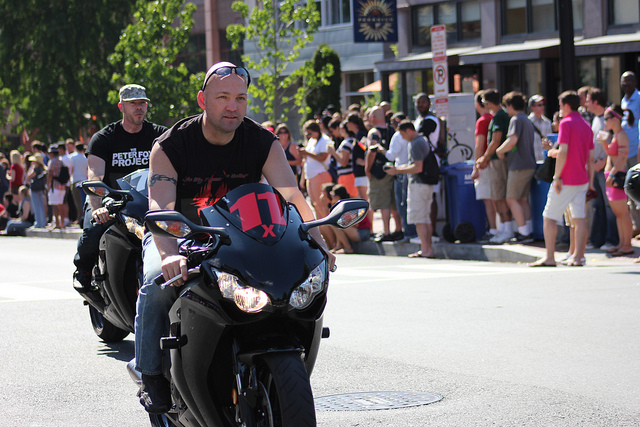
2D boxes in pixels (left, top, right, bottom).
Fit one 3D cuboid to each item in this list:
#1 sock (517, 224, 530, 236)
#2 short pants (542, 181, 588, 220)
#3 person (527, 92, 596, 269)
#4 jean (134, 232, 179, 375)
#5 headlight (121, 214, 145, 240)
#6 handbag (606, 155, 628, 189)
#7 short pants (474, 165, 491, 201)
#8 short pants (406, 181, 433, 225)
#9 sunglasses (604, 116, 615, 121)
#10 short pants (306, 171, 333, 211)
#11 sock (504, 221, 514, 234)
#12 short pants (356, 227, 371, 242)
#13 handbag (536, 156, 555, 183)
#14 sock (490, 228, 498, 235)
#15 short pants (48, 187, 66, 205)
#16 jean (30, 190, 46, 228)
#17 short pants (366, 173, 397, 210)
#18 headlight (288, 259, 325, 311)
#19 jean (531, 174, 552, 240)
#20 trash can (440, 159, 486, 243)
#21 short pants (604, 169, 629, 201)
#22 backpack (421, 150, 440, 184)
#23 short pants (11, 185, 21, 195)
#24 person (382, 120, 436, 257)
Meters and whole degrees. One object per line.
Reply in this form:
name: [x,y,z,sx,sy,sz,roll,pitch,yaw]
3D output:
sock: [3.545,0.294,16.012,0.213,0.267,0.111,7,5,23]
short pants: [3.775,-0.191,14.193,0.645,0.546,0.252,1,8,16]
person: [3.897,-0.558,14.537,0.802,2.721,1.129,1,8,18]
jean: [-1.500,0.839,8.197,0.366,1.425,0.818,1,0,-15]
headlight: [-1.948,0.150,9.794,0.333,0.282,0.162,6,11,43]
handbag: [4.749,-0.600,14.785,0.334,0.438,0.272,2,2,-14]
short pants: [2.888,-0.544,16.388,0.286,0.631,0.337,0,8,11]
short pants: [1.777,-0.186,16.384,0.426,0.783,0.244,0,7,8]
sunglasses: [4.708,-1.559,15.054,0.091,0.073,0.196,-8,11,-35]
short pants: [-0.009,-0.491,18.914,0.535,1.202,0.772,0,2,1]
sock: [3.333,0.256,16.285,0.154,0.291,0.177,-3,-1,25]
short pants: [0.862,0.405,17.931,0.293,0.282,0.093,-8,9,-36]
handbag: [3.729,-0.708,15.229,0.186,0.483,0.328,3,16,-25]
sock: [3.140,0.326,16.664,0.079,0.124,0.251,1,3,5]
short pants: [-7.051,-0.472,24.777,0.441,0.513,0.646,-4,9,-15]
jean: [-7.929,-0.126,26.011,0.354,1.063,0.559,-4,8,-18]
short pants: [1.164,-0.430,17.236,0.486,0.823,0.399,-1,7,-9]
headlight: [-0.097,0.596,7.448,0.383,0.327,0.067,-9,10,-41]
jean: [3.863,-0.123,16.228,0.247,1.320,0.307,4,-3,-19]
trash can: [2.646,-0.171,17.144,0.617,1.701,0.733,0,0,39]
short pants: [4.764,-0.476,14.946,0.272,0.599,0.383,10,-14,-9]
backpack: [1.983,-0.809,16.376,0.356,0.888,0.541,-1,1,-4]
short pants: [-8.767,-0.672,26.566,0.230,0.318,0.590,-4,9,-19]
person: [1.684,-0.437,16.554,0.772,2.513,1.015,-1,7,6]
